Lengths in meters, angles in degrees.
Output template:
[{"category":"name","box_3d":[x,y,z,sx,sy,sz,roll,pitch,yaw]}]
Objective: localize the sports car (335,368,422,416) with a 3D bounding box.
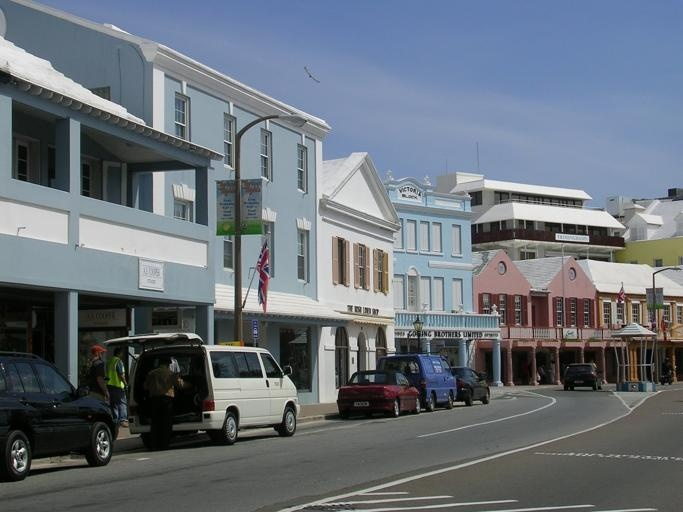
[{"category":"sports car","box_3d":[1.555,4.617,33.488,1.379,0.982,2.530,-2,-2,25]}]

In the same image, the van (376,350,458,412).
[{"category":"van","box_3d":[2.986,4.927,37.924,2.206,2.196,4.121,-6,-9,21]}]

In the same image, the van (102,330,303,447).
[{"category":"van","box_3d":[-3.244,3.381,24.711,2.277,2.805,6.737,-7,-8,18]}]

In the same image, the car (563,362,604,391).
[{"category":"car","box_3d":[13.877,6.975,56.284,1.939,1.716,2.650,-7,-12,19]}]

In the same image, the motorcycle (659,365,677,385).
[{"category":"motorcycle","box_3d":[22.881,8.429,68.813,1.216,1.534,2.460,0,-1,21]}]

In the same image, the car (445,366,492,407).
[{"category":"car","box_3d":[5.211,5.560,41.786,1.436,1.640,3.544,-7,-7,26]}]
